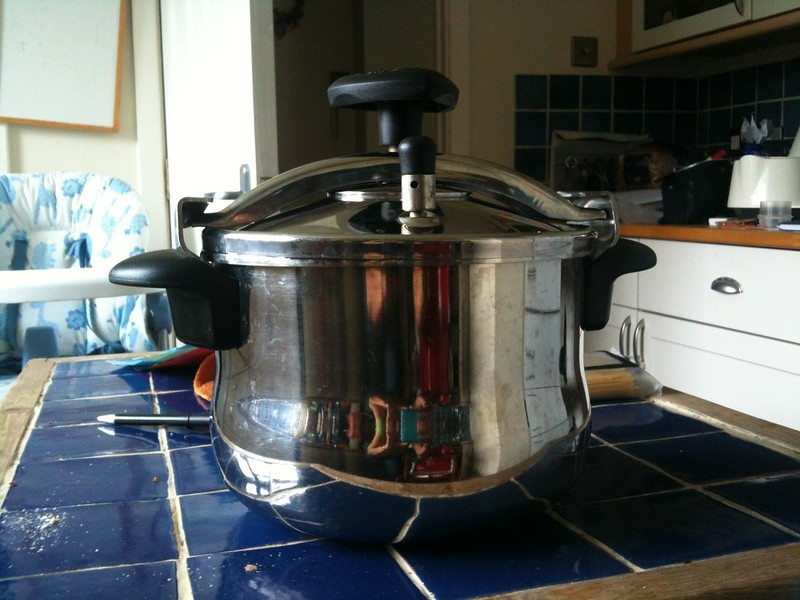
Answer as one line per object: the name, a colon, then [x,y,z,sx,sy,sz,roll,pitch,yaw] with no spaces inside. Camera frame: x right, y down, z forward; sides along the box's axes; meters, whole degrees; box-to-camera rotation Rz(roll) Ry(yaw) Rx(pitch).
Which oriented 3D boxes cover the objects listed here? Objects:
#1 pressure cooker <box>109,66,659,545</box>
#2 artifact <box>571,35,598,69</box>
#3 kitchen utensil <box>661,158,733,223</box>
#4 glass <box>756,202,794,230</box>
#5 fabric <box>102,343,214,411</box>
pressure cooker: [0.016,0.005,0.660,0.476,0.321,0.293,-4,9,-8]
artifact: [0.659,-0.884,2.667,0.126,0.099,0.027,-3,7,-12]
kitchen utensil: [0.862,-0.313,2.169,0.184,0.185,0.082,2,10,17]
glass: [0.889,-0.193,1.771,0.083,0.064,0.075,0,3,-2]
fabric: [-0.292,0.107,0.936,0.117,0.035,0.105,3,10,-1]
